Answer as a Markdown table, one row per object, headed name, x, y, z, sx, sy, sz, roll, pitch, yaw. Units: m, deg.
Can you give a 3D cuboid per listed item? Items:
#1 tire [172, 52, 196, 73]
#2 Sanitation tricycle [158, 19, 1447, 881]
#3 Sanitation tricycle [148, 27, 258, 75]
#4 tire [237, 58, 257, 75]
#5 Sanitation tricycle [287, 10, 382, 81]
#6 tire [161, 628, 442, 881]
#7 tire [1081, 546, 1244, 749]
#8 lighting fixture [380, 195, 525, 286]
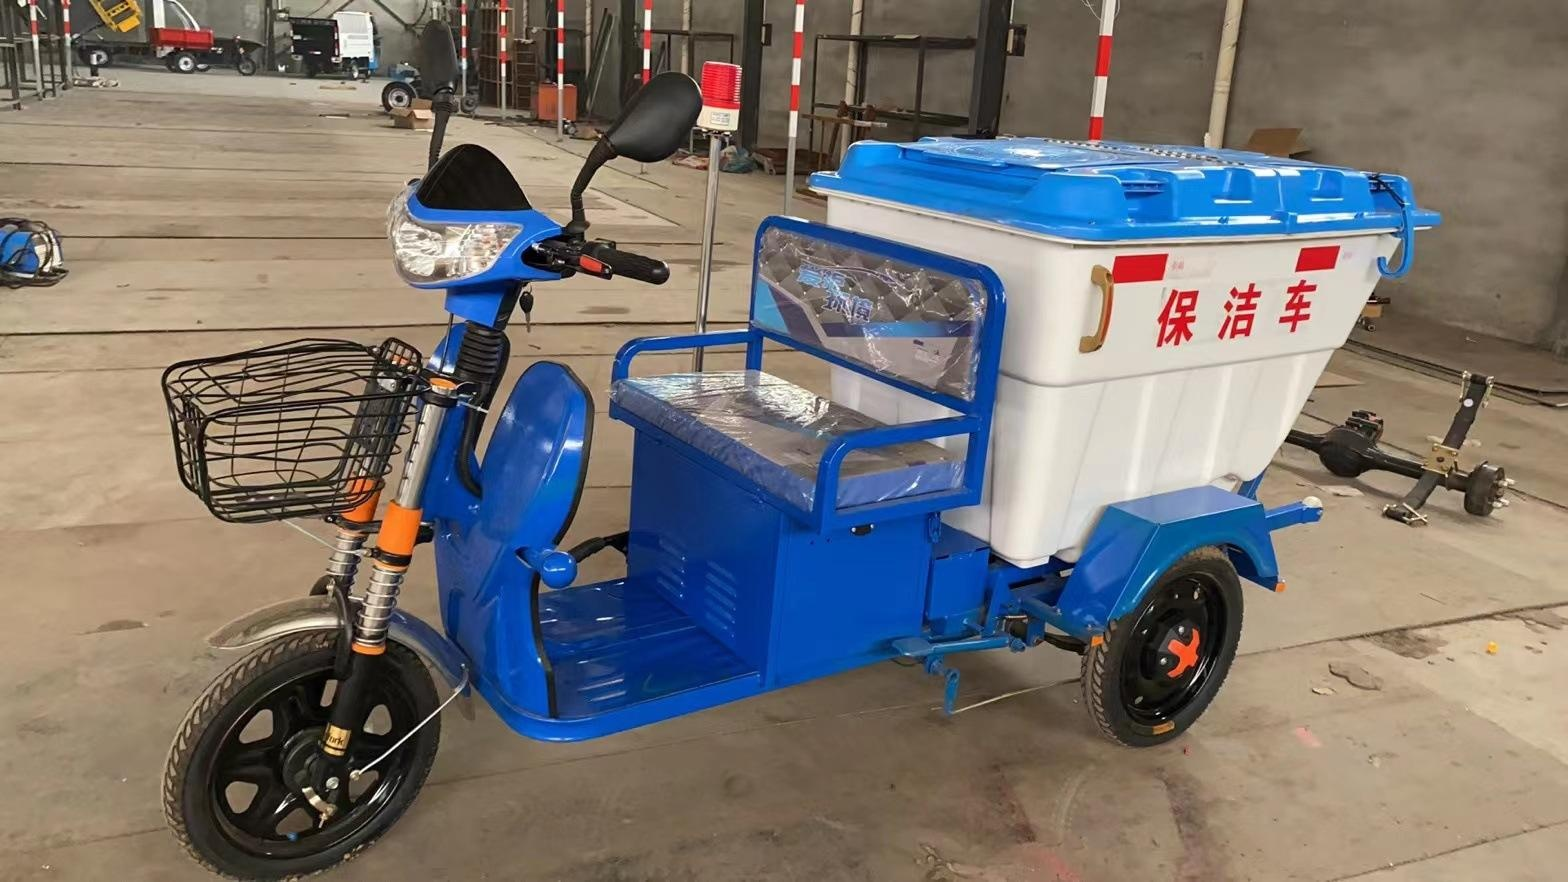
| name | x | y | z | sx | sy | sz | roll | pitch | yaw |
| --- | --- | --- | --- | --- | --- | --- | --- | --- | --- |
| tire | -14.080 | -8.902 | 24.464 | 0.469 | 0.444 | 0.150 | 27 | 30 | -21 |
| Sanitation tricycle | 0.429 | -0.156 | 4.865 | 5.437 | 2.637 | 2.297 | -5 | 17 | -20 |
| Sanitation tricycle | -13.744 | -9.270 | 24.790 | 1.957 | 0.795 | 1.127 | -15 | 30 | -38 |
| tire | -13.249 | -9.228 | 25.894 | 0.532 | 0.461 | 0.177 | 5 | -3 | 2 |
| Sanitation tricycle | -10.680 | -9.552 | 25.182 | 1.653 | 1.478 | 2.669 | 4 | 22 | 4 |
| tire | -1.566 | 1.067 | 3.450 | 0.804 | 0.740 | 0.125 | 22 | 14 | -29 |
| tire | 1.426 | 0.773 | 3.988 | 0.796 | 0.713 | 0.152 | -11 | 24 | -32 |
| lighting fixture | -1.058 | -0.604 | 3.352 | 0.390 | 0.250 | 0.156 | 1 | -4 | -9 |
